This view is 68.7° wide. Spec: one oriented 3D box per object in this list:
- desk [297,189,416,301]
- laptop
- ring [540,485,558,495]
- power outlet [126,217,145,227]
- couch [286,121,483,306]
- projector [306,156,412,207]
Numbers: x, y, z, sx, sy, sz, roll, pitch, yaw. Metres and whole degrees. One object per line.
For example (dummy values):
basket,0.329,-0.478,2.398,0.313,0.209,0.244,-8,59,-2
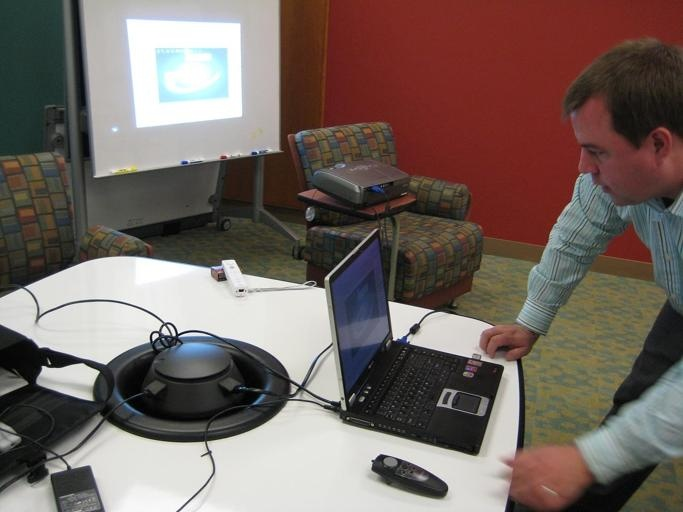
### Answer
desk,0.092,-0.033,2.757,0.531,0.695,0.476,20,31,37
laptop,0.145,0.082,1.254,0.424,0.459,0.528,7,25,22
ring,0.427,0.484,1.034,0.025,0.003,0.006,39,53,10
power outlet,-1.608,-0.264,3.928,0.078,0.079,0.022,-7,-8,-23
couch,0.334,-0.219,3.350,1.050,1.356,1.114,8,12,29
projector,0.079,-0.367,2.460,0.292,0.127,0.337,27,33,37
